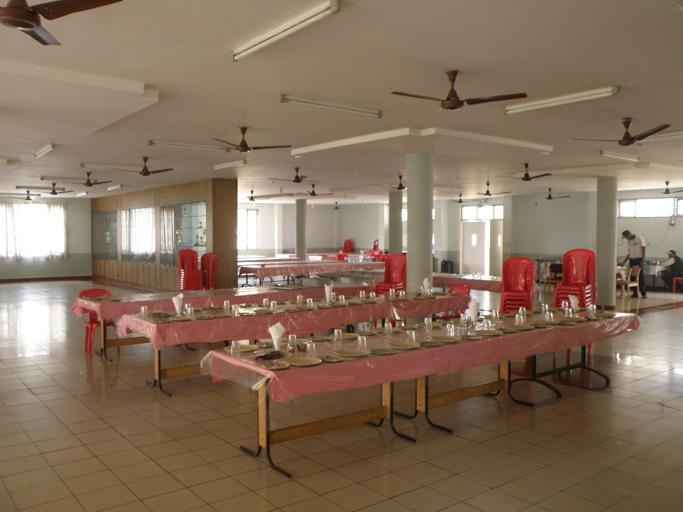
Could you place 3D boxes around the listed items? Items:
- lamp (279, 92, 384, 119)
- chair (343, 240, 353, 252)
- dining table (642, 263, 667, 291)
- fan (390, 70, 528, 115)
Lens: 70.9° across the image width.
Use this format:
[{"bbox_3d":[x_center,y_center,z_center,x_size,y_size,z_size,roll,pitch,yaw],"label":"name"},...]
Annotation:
[{"bbox_3d":[-0.136,-1.995,6.549,1.693,0.092,0.392,-2,4,-32],"label":"lamp"},{"bbox_3d":[0.323,-0.502,26.167,0.692,0.707,0.693,1,-2,18],"label":"chair"},{"bbox_3d":[10.606,0.725,16.266,0.704,0.583,1.065,10,13,42],"label":"dining table"},{"bbox_3d":[1.374,-1.852,5.680,1.114,0.330,1.420,0,3,2],"label":"fan"}]
